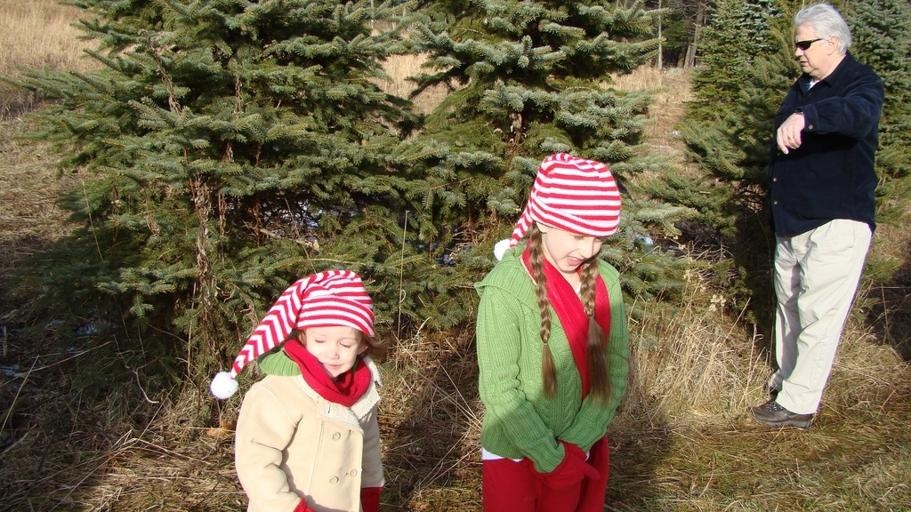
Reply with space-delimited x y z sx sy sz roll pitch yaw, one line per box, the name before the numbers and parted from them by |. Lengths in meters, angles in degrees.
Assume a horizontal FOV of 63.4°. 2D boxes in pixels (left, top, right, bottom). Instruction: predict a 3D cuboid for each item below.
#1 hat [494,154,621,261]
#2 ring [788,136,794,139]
hat | 0.993 -0.389 7.083 1.204 1.143 0.952 13 18 20
ring | 3.534 -1.262 7.782 0.049 0.040 0.019 12 21 23
